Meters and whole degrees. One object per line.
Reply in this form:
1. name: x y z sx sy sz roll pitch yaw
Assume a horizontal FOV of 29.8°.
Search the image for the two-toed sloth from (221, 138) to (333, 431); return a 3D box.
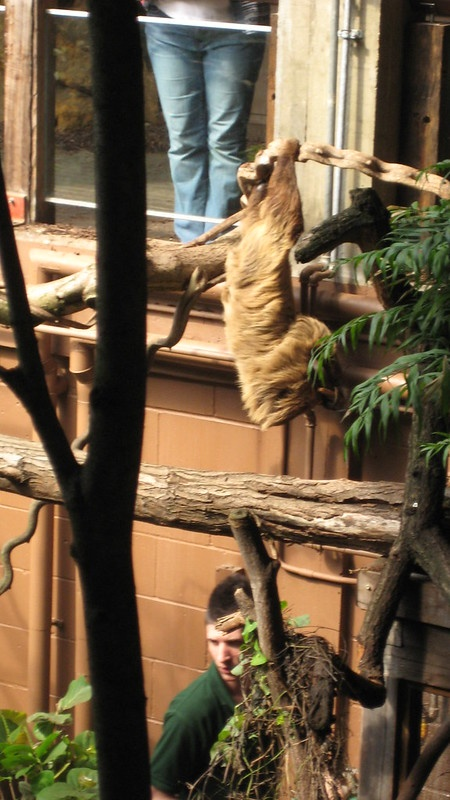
1. two-toed sloth: 0.124 -0.303 2.251 0.284 0.750 0.228 -3 -3 6
